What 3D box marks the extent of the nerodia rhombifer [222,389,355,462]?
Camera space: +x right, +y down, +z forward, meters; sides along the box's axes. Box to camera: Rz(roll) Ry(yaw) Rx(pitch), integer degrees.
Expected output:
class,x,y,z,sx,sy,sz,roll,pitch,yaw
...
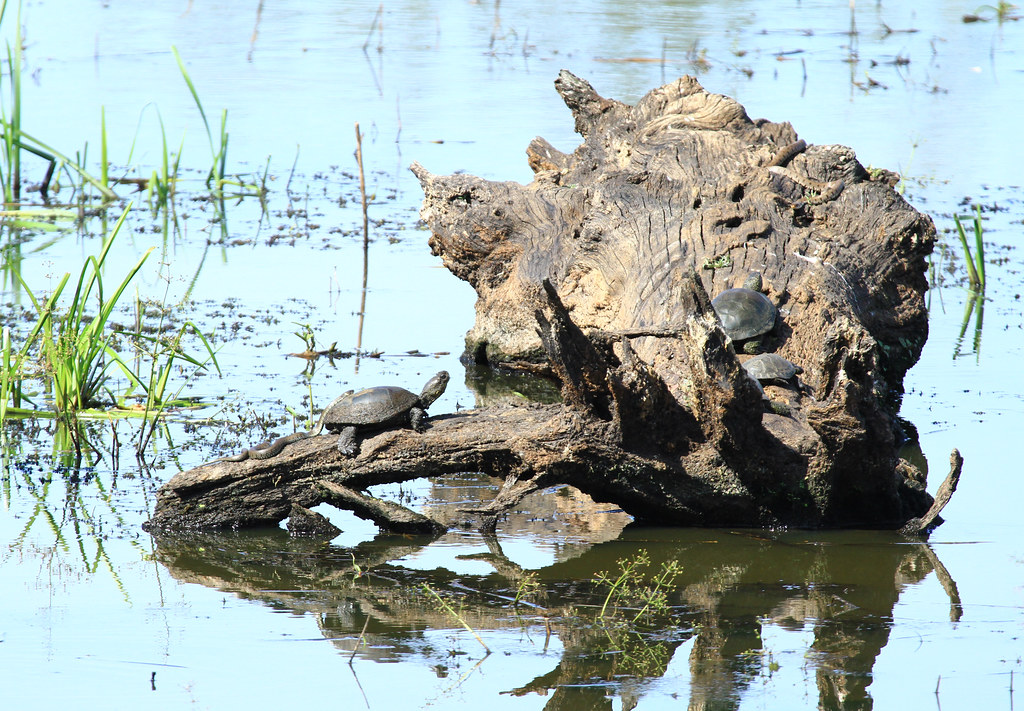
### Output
class,x,y,z,sx,sy,sz,roll,pitch,yaw
nerodia rhombifer,-2.598,0.979,19.289,1.831,0.409,0.594,-27,6,-25

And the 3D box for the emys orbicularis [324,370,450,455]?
class,x,y,z,sx,sy,sz,roll,pitch,yaw
emys orbicularis,-1.416,0.565,19.554,1.412,0.550,0.994,-11,13,-20

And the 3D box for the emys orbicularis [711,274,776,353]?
class,x,y,z,sx,sy,sz,roll,pitch,yaw
emys orbicularis,2.708,-0.405,20.789,0.773,0.717,0.468,3,3,1
